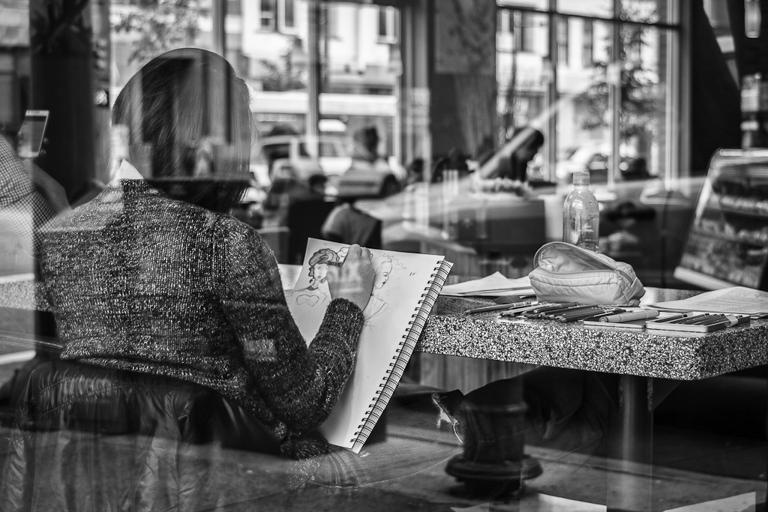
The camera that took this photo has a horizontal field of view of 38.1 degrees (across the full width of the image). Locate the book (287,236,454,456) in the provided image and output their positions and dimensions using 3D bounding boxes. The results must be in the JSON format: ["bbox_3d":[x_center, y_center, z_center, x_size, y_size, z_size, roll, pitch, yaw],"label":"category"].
[{"bbox_3d":[-0.028,0.160,1.969,0.356,0.350,0.089,14,-10,13],"label":"book"}]
